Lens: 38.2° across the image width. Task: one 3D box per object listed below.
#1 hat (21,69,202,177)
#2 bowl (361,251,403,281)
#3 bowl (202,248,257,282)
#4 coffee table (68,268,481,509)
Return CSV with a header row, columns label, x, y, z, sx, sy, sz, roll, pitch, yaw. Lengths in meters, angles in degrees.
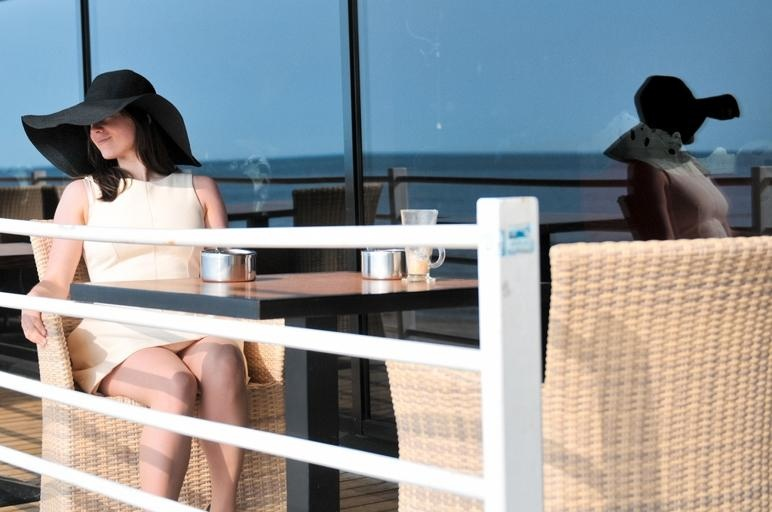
label,x,y,z,sx,sy,sz,roll,pitch,yaw
hat,-1.069,-0.548,4.393,0.717,0.348,0.609,-6,-16,7
bowl,-0.008,0.032,3.770,0.109,0.080,0.108,-1,-2,0
bowl,-0.544,0.030,3.786,0.183,0.112,0.188,1,5,0
coffee table,-0.371,0.281,3.615,0.860,0.841,0.854,-2,1,-41
